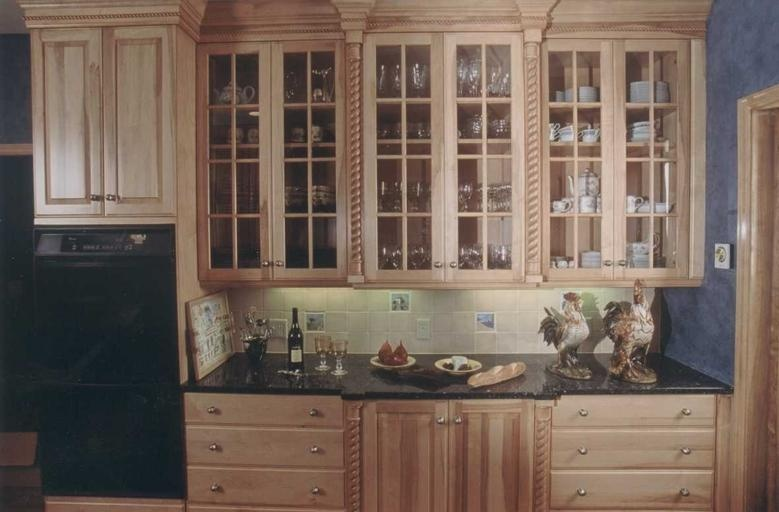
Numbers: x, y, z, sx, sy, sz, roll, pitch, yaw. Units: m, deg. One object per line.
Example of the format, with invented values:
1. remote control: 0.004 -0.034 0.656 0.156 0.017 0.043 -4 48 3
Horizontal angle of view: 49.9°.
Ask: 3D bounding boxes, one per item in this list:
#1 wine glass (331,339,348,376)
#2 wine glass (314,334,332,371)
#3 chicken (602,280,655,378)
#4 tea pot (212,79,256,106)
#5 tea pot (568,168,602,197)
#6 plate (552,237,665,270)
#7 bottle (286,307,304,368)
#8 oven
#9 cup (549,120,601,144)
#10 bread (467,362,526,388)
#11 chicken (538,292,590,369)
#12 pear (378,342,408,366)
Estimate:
1. wine glass: -0.340 0.677 5.616 0.102 0.244 0.262 0 0 -4
2. wine glass: -0.451 0.652 5.682 0.098 0.242 0.303 0 0 -6
3. chicken: 1.566 0.492 5.442 0.329 0.661 0.154 0 0 10
4. tea pot: -1.033 -1.079 5.517 0.238 0.128 0.160 0 5 -2
5. tea pot: 1.304 -0.476 5.629 0.218 0.183 0.142 -1 2 3
6. plate: 1.464 0.010 5.622 0.590 0.189 0.299 0 -1 4
7. bottle: -0.631 0.565 5.663 0.103 0.427 0.220 0 0 -7
8. oven: -1.719 0.730 5.787 1.196 1.874 1.114 0 2 27
9. cup: 1.232 -0.798 5.538 0.246 0.094 0.166 -1 0 45
10. bread: 0.730 0.780 5.450 0.493 0.164 0.116 -1 0 -27
11. chicken: 1.147 0.501 5.537 0.259 0.485 0.325 -8 8 -34
12. pear: 0.036 0.677 5.663 0.236 0.230 0.138 0 -7 4
